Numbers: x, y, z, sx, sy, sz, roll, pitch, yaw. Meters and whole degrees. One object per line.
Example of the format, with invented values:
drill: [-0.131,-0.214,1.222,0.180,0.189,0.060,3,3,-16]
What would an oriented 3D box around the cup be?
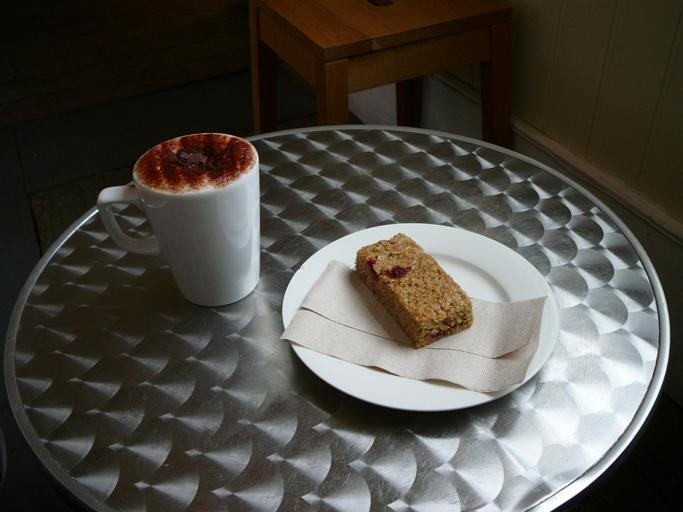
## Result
cup: [-0.201,-0.089,0.870,0.252,0.256,0.177,-9,40,-8]

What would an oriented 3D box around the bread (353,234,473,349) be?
bread: [0.097,0.036,0.780,0.092,0.054,0.173,-20,49,-22]
